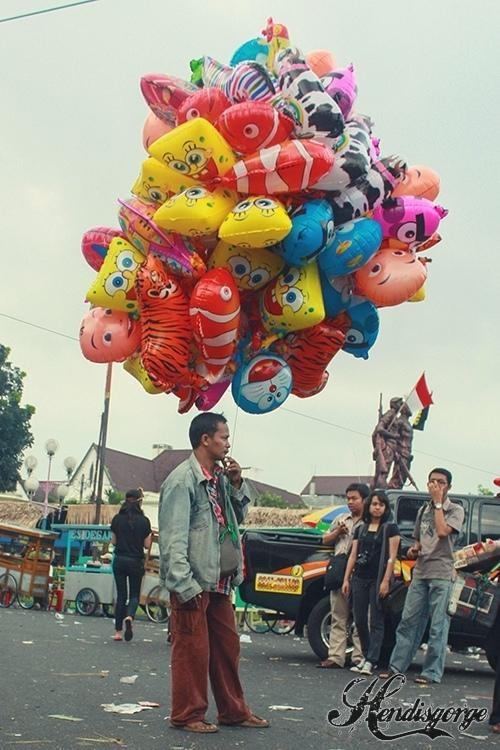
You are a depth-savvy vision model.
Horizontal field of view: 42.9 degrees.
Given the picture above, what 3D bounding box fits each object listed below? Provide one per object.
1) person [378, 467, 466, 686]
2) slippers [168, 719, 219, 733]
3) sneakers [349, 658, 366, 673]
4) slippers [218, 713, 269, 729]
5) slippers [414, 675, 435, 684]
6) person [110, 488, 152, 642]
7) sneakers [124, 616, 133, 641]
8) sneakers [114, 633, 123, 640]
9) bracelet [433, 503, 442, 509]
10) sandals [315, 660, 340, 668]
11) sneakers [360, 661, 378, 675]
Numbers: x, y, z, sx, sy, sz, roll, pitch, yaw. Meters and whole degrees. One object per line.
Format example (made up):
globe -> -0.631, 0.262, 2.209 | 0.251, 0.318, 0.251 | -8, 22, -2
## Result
person -> 1.592, 1.788, 5.665 | 0.571, 1.939, 0.598 | 2, -4, 43
slippers -> -0.270, 1.637, 3.013 | 0.188, 0.048, 0.071 | -8, -15, 23
sneakers -> 1.066, 2.807, 6.171 | 0.138, 0.165, 0.392 | 0, -29, 11
slippers -> -0.029, 1.777, 3.283 | 0.265, 0.098, 0.086 | -2, -11, -1
slippers -> 1.542, 2.702, 5.648 | 0.085, 0.059, 0.149 | 6, -36, 5
person -> -1.634, 2.573, 8.553 | 0.539, 2.075, 0.862 | 5, -3, -8
sneakers -> -1.571, 3.303, 8.301 | 0.118, 0.299, 0.129 | 0, -4, 6
sneakers -> -1.737, 3.457, 8.418 | 0.066, 0.081, 0.123 | 5, -4, -23
bracelet -> 1.656, 1.135, 5.574 | 0.076, 0.060, 0.133 | 3, -3, 17
sandals -> 0.817, 3.004, 6.625 | 0.253, 0.093, 0.085 | 17, -26, -27
sneakers -> 1.095, 2.721, 5.908 | 0.081, 0.088, 0.216 | -6, -31, 14
